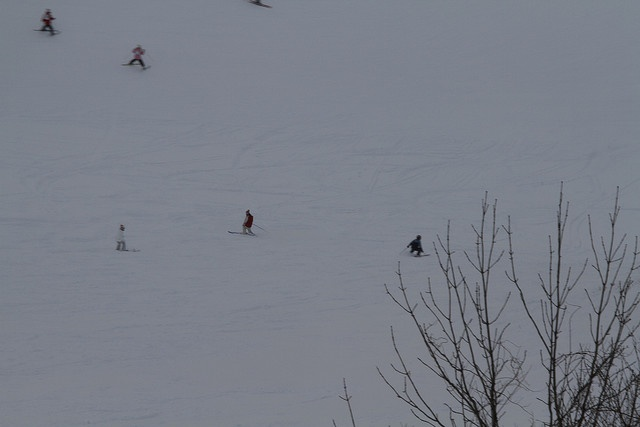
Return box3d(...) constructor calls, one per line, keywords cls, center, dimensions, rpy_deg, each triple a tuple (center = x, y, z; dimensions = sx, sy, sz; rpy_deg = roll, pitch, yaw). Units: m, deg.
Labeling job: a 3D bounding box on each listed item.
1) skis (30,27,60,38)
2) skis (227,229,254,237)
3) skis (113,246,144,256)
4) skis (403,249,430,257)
box3d(cls="skis", center=(-5.073, -3.337, 26.445), dimensions=(0.571, 0.144, 0.150), rpy_deg=(4, 4, -1))
box3d(cls="skis", center=(-1.394, 0.355, 26.244), dimensions=(0.735, 0.158, 0.134), rpy_deg=(0, -13, -3))
box3d(cls="skis", center=(-3.507, 0.643, 26.086), dimensions=(0.419, 0.184, 0.058), rpy_deg=(-3, -29, -13))
box3d(cls="skis", center=(1.682, 0.736, 26.056), dimensions=(0.569, 0.144, 0.094), rpy_deg=(8, -4, 8))
